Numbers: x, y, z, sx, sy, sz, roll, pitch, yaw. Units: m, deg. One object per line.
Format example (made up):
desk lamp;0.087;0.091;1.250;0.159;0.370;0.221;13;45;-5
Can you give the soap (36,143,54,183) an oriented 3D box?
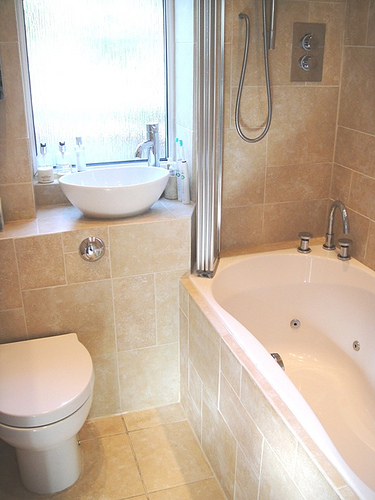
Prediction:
soap;-0.698;-0.425;1.959;0.080;0.186;0.154;-6;15;-20

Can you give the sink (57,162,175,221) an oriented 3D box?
sink;-0.299;-0.283;1.879;0.505;0.230;0.617;-3;14;-7

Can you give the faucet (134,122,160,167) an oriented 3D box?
faucet;-0.202;-0.508;2.005;0.066;0.223;0.145;22;36;34

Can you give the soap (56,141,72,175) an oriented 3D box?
soap;-0.630;-0.453;2.044;0.077;0.197;0.060;-6;-13;-14
